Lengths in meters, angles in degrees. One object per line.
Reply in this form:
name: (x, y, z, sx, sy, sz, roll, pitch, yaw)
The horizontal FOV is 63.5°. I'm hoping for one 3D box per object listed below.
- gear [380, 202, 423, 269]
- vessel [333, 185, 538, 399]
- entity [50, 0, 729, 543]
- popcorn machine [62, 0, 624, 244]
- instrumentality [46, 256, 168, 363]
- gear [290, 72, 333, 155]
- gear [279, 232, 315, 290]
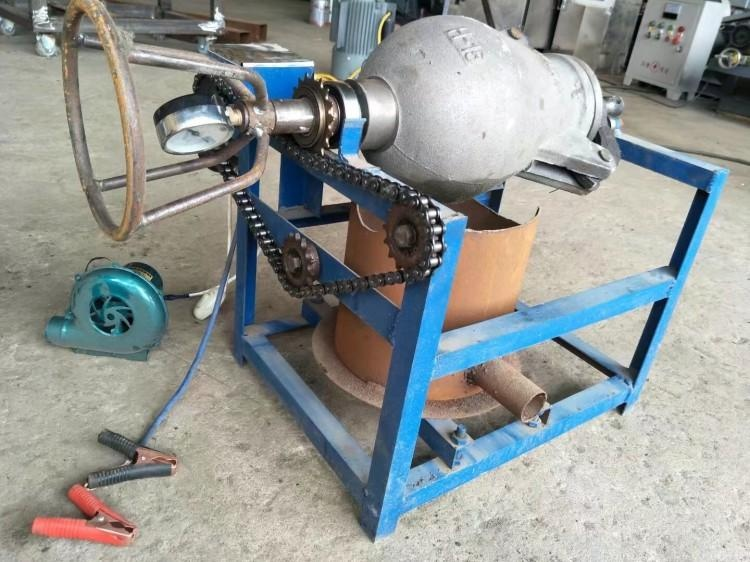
gear: (0.068, -0.100, 1.391, 0.025, 0.169, 0.135, -12, 35, -30)
vessel: (0.153, -0.003, 2.091, 0.620, 0.605, 0.622, -2, 34, -21)
entity: (0.202, -0.127, 2.079, 2.101, 1.443, 1.415, -16, 49, -35)
popcorn machine: (0.042, -0.381, 1.636, 1.476, 0.570, 0.631, -6, 54, -22)
instrumentality: (-0.898, 0.109, 2.015, 0.384, 0.331, 0.188, -1, 20, 11)
gear: (-0.139, -0.392, 1.431, 0.056, 0.160, 0.151, -10, 23, -37)
gear: (-0.211, -0.054, 1.661, 0.036, 0.143, 0.137, -17, 21, -35)
